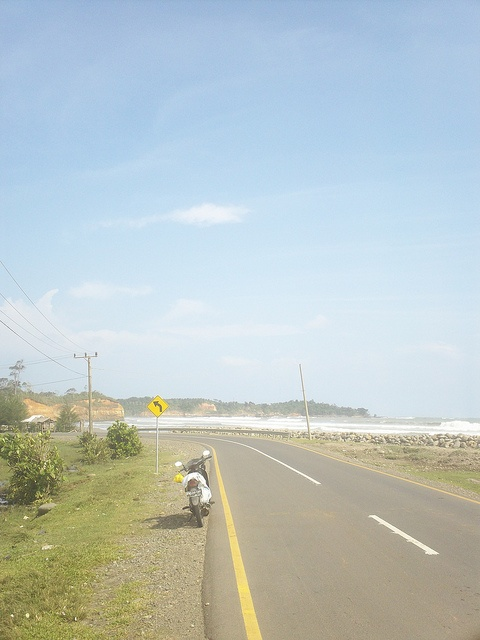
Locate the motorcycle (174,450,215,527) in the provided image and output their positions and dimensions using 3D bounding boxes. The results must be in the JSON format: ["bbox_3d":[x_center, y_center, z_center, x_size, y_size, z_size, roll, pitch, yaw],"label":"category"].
[{"bbox_3d":[-1.061,3.894,11.130,0.683,1.429,1.875,0,-9,-2],"label":"motorcycle"}]
